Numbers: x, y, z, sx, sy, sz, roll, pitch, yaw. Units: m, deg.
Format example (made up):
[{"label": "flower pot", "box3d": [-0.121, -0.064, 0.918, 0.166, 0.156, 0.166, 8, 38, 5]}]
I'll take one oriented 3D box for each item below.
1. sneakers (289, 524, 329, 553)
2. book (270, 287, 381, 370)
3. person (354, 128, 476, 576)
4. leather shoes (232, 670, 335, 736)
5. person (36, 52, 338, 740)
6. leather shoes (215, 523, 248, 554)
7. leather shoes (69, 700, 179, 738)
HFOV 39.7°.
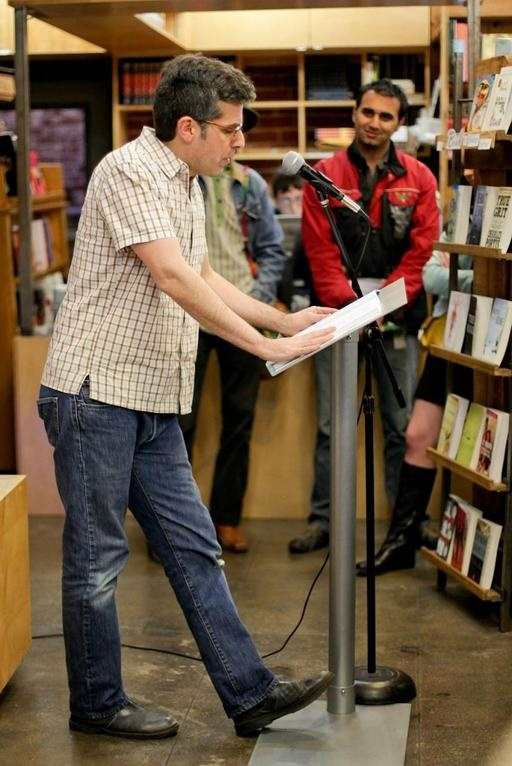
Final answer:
[{"label": "sneakers", "box3d": [0.231, 0.682, 3.110, 0.077, 0.096, 0.234, -13, -7, 41]}, {"label": "book", "box3d": [0.151, -0.099, 1.350, 0.184, 0.160, 0.252, 1, 1, 34]}, {"label": "person", "box3d": [0.707, -0.046, 2.734, 0.315, 1.556, 0.228, 20, 16, 36]}, {"label": "leather shoes", "box3d": [0.054, 0.692, 1.525, 0.220, 0.099, 0.072, -31, 2, -6]}, {"label": "person", "box3d": [-0.171, 0.062, 1.465, 0.592, 1.441, 0.356, 0, 1, 12]}, {"label": "leather shoes", "box3d": [-0.121, 0.687, 3.134, 0.067, 0.075, 0.191, -1, 8, -36]}, {"label": "leather shoes", "box3d": [-0.271, 0.746, 1.556, 0.248, 0.101, 0.089, 0, -5, 2]}]
